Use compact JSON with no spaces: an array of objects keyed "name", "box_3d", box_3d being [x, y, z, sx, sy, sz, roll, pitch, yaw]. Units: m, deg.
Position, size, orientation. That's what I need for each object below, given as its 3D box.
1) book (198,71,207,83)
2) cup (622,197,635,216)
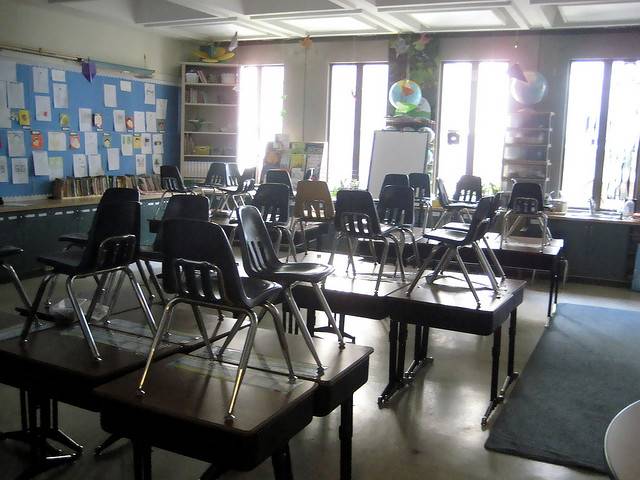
[{"name":"book","box_3d":[-2.288,-3.119,8.980,0.048,0.208,0.207,-3,1,18]},{"name":"cup","box_3d":[4.554,-0.460,6.896,0.137,0.232,0.273,8,13,33]}]
